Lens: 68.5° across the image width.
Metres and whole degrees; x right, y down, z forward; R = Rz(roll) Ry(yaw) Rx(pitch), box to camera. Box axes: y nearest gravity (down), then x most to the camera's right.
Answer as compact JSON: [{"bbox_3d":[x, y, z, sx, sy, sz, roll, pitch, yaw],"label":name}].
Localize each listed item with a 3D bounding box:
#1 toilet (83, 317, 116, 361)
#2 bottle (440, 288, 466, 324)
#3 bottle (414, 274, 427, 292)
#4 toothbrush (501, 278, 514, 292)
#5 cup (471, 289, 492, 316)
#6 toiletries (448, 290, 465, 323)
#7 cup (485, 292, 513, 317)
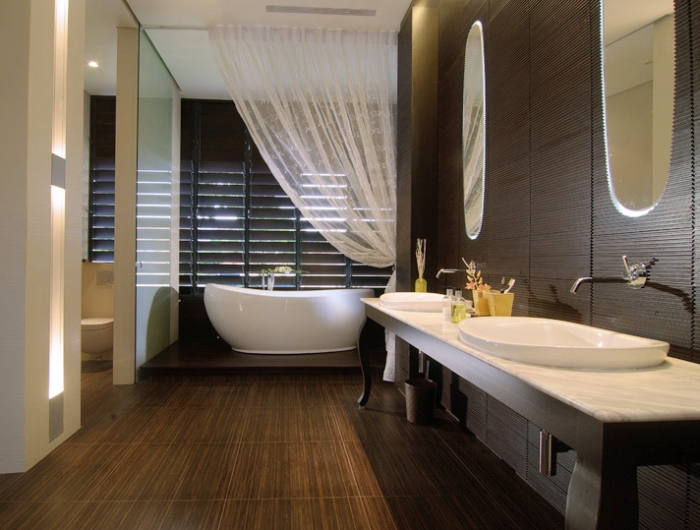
[{"bbox_3d":[-2.423,0.727,4.989,0.267,0.399,0.362,-4,9,-29],"label":"toilet"},{"bbox_3d":[0.556,0.227,2.799,0.077,0.220,0.149,-2,5,-30],"label":"bottle"},{"bbox_3d":[0.523,0.136,3.889,0.090,0.190,0.096,0,1,0],"label":"bottle"},{"bbox_3d":[0.863,0.112,2.810,0.047,0.035,0.184,0,12,17],"label":"toothbrush"},{"bbox_3d":[0.713,0.205,2.822,0.110,0.174,0.118,0,-1,0],"label":"cup"},{"bbox_3d":[0.572,0.217,2.758,0.087,0.149,0.217,2,8,11],"label":"toiletries"},{"bbox_3d":[0.780,0.202,2.685,0.107,0.107,0.137,0,-3,5],"label":"cup"}]
